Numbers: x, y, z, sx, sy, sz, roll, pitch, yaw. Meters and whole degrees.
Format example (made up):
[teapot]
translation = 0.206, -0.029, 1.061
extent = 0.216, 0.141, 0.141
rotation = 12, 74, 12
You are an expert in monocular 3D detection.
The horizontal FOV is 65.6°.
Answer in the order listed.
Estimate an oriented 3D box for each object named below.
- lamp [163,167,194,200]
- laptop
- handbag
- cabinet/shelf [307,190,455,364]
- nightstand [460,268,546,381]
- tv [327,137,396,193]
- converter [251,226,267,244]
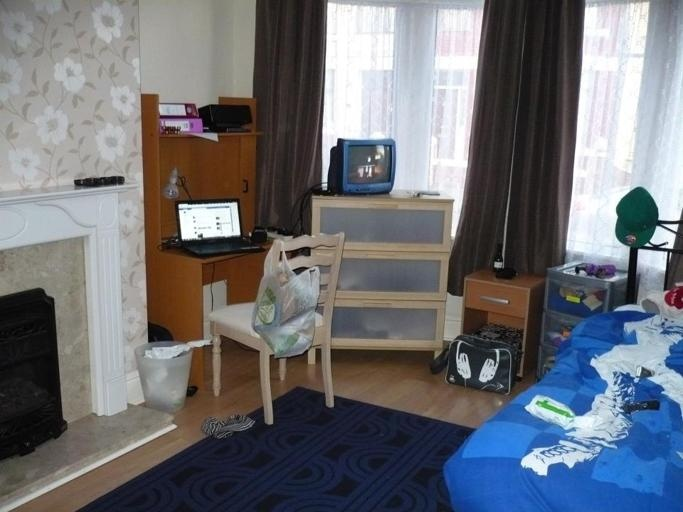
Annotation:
[lamp]
translation = -1.176, -0.504, 3.830
extent = 0.120, 0.212, 0.319
rotation = -3, -9, 18
[laptop]
translation = -0.932, -0.218, 3.788
extent = 0.578, 0.359, 0.420
rotation = -6, 11, -38
[handbag]
translation = 0.999, 0.783, 3.747
extent = 0.355, 0.303, 0.128
rotation = 7, 3, 21
[cabinet/shelf]
translation = 0.299, 0.148, 4.224
extent = 1.064, 1.318, 0.515
rotation = 3, 17, 6
[nightstand]
translation = 1.253, 0.533, 4.075
extent = 0.517, 0.772, 0.430
rotation = 10, 19, 39
[tv]
translation = 0.127, -0.605, 4.117
extent = 0.583, 0.497, 0.386
rotation = -4, 12, -24
[converter]
translation = -0.626, -0.175, 3.964
extent = 0.110, 0.107, 0.155
rotation = 6, 11, 5
